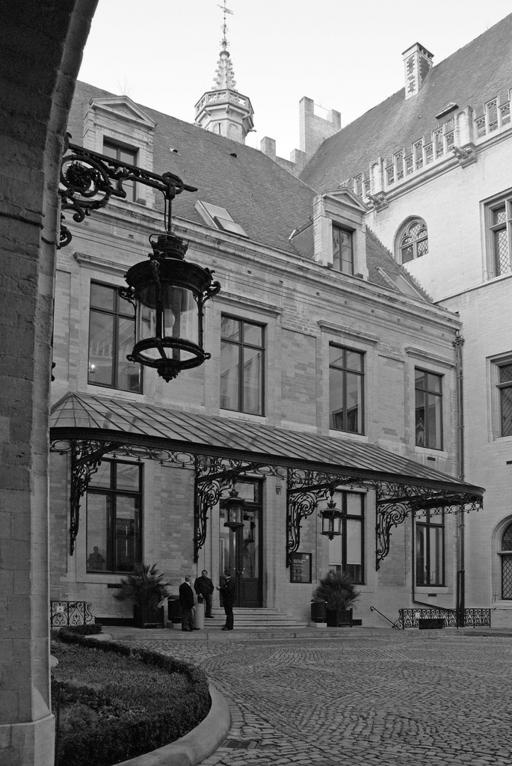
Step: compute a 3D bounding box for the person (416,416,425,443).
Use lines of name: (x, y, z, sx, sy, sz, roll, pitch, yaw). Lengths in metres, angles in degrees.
person: (3.917, 1.170, 33.417, 0.126, 0.724, 0.505, -4, -11, 20)

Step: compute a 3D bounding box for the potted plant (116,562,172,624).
potted plant: (-1.971, 3.803, 24.956, 0.690, 1.131, 0.960, -5, -12, 26)

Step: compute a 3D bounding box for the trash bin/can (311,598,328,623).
trash bin/can: (1.279, 4.621, 28.169, 0.309, 0.434, 0.316, 1, -11, -3)

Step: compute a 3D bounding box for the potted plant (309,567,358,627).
potted plant: (1.575, 4.494, 28.638, 0.947, 1.255, 0.924, 12, -23, -28)
